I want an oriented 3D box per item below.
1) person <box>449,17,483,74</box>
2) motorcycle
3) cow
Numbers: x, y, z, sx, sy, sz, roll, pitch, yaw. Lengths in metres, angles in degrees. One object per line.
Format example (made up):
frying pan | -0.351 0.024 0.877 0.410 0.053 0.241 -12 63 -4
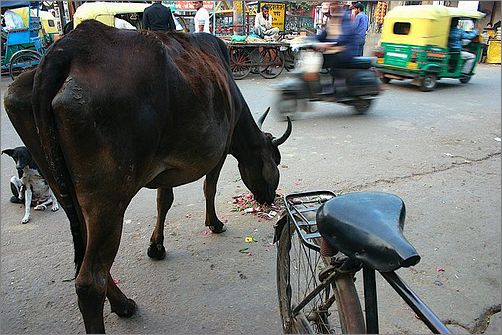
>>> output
person | 5.811 -3.384 11.175 0.893 1.531 0.664 -22 37 -2
motorcycle | 1.629 -1.878 8.406 2.676 1.664 1.283 -8 9 -30
cow | -0.690 -0.173 3.830 1.063 2.298 2.680 19 29 36
